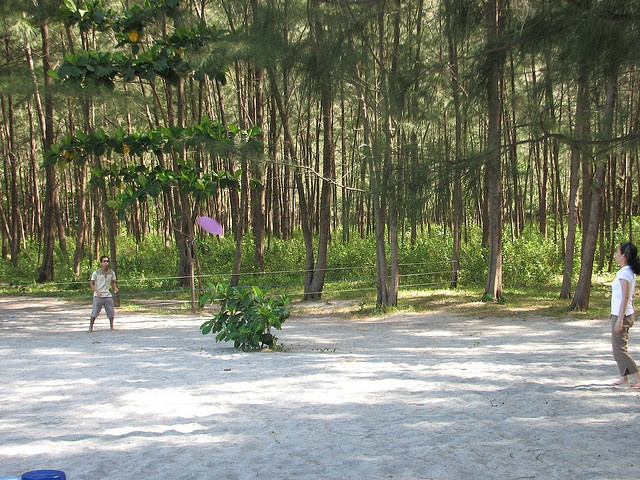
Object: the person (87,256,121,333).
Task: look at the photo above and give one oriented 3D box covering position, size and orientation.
[{"bbox_3d":[-6.366,1.548,30.289,0.827,2.248,1.339,-3,10,-13],"label":"person"}]
